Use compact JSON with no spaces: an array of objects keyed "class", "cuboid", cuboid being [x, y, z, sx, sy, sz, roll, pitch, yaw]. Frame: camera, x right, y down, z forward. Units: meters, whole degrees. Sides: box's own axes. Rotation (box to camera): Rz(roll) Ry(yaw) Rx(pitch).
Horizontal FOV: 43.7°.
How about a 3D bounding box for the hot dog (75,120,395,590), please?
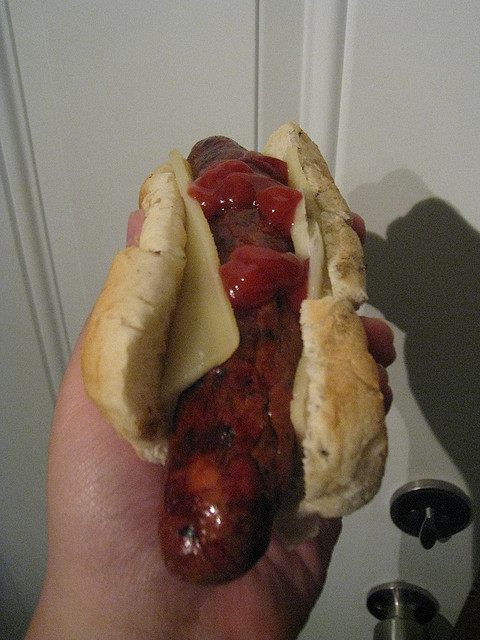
[{"class":"hot dog","cuboid":[0.005,-0.010,0.895,0.421,0.263,0.694,-12,70,19]}]
